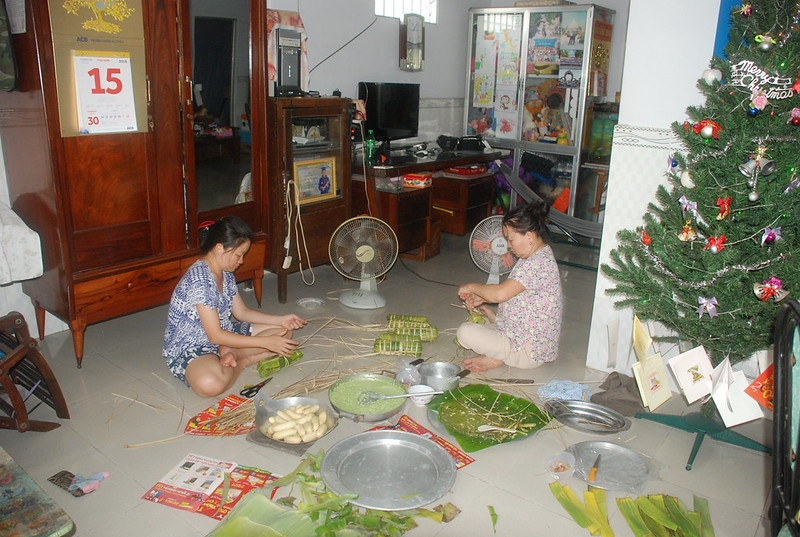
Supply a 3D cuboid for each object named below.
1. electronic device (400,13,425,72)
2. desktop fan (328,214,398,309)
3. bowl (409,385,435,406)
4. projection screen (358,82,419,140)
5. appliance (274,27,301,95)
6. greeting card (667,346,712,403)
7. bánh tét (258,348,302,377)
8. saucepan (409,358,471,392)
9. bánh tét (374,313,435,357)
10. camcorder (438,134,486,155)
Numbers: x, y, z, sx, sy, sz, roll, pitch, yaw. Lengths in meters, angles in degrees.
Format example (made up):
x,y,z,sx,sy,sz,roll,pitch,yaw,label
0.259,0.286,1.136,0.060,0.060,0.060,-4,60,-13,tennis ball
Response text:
x,y,z,sx,sy,sz,roll,pitch,yaw,label
0.179,-2.650,6.163,0.352,0.626,0.059,20,34,33,electronic device
-0.311,-0.060,4.438,0.538,0.888,0.294,-3,23,-7,desktop fan
0.133,0.792,3.283,0.127,0.057,0.127,1,25,0,bowl
-0.100,-1.747,5.783,0.822,0.608,0.226,-21,31,-40,projection screen
-0.954,-1.796,4.592,0.246,0.549,0.117,5,17,2,appliance
1.578,0.595,2.971,0.292,0.287,0.071,-27,6,-10,greeting card
-0.846,0.659,3.652,0.141,0.073,0.232,20,36,41,bánh tét
0.262,0.709,3.504,0.272,0.104,0.173,21,27,37,saucepan
0.036,0.511,4.008,0.470,0.113,0.516,-19,27,-9,bánh tét
0.707,-1.439,6.030,0.425,0.155,0.256,-1,21,-8,camcorder
